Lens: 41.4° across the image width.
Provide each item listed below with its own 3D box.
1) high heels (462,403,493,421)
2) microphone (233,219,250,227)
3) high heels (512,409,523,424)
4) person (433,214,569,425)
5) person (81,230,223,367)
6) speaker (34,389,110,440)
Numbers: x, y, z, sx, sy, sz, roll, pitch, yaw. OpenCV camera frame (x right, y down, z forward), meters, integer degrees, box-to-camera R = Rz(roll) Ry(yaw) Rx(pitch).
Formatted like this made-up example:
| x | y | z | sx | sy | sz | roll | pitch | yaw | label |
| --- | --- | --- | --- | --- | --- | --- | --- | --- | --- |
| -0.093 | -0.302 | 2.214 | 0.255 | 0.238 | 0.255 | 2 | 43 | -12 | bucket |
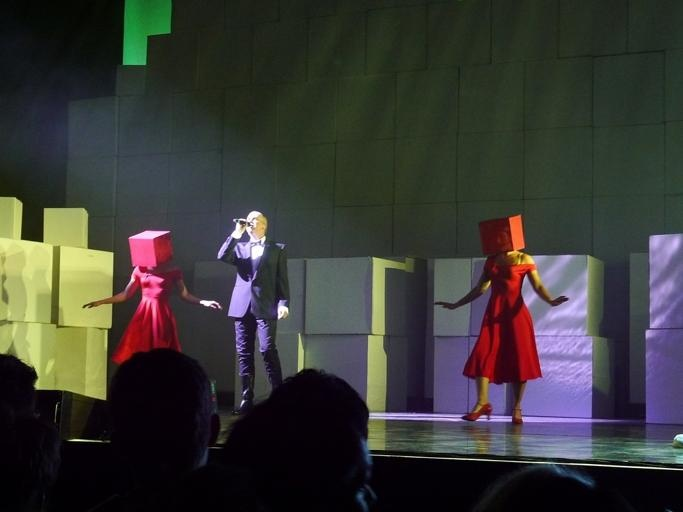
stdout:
| x | y | z | sx | sy | sz | roll | pitch | yaw | label |
| --- | --- | --- | --- | --- | --- | --- | --- | --- | --- |
| 1.004 | 1.154 | 6.677 | 0.197 | 0.145 | 0.528 | 1 | -8 | 10 | high heels |
| -0.753 | -0.262 | 6.967 | 0.121 | 0.038 | 0.130 | 6 | 3 | 1 | microphone |
| 1.272 | 1.166 | 6.495 | 0.049 | 0.064 | 0.155 | -3 | -16 | 11 | high heels |
| 1.351 | 0.596 | 7.502 | 1.316 | 2.114 | 0.672 | -16 | -30 | 42 | person |
| -1.484 | 0.457 | 7.094 | 0.895 | 1.311 | 0.416 | 3 | -19 | -12 | person |
| -1.254 | 0.746 | 4.421 | 0.374 | 0.262 | 0.405 | 0 | -9 | 26 | speaker |
